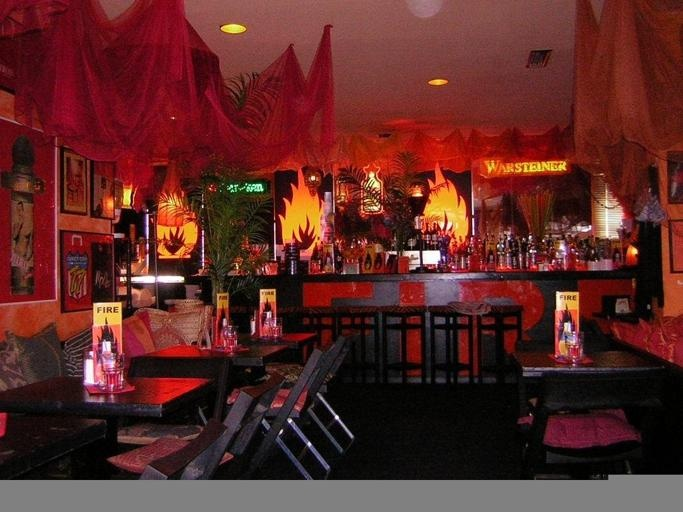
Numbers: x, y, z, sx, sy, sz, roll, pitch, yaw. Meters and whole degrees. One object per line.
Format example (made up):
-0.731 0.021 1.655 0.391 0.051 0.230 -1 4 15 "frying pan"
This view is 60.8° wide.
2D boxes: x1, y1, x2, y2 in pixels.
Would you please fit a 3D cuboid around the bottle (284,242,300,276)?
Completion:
-0.638 0.028 7.499 0.172 0.387 0.197 0 1 -6 "bottle"

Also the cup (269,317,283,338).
-0.596 0.625 5.133 0.134 0.157 0.139 -1 -4 0 "cup"
